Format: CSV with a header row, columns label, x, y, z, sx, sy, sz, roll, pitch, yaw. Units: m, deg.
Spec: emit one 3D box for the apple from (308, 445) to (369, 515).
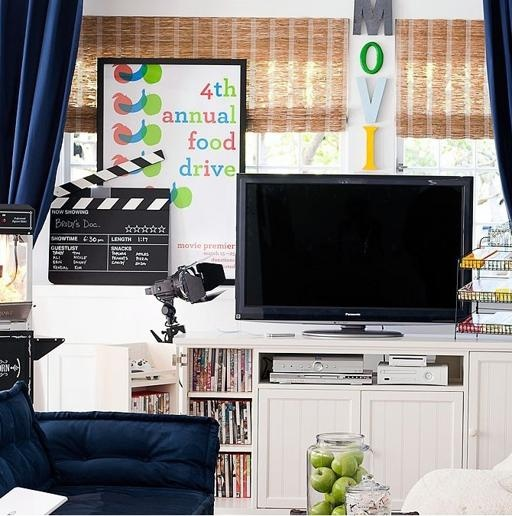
label,x,y,z,sx,sy,sz,roll,pitch,yaw
apple,0.255,0.678,2.600,0.205,0.254,0.217,1,-2,11
